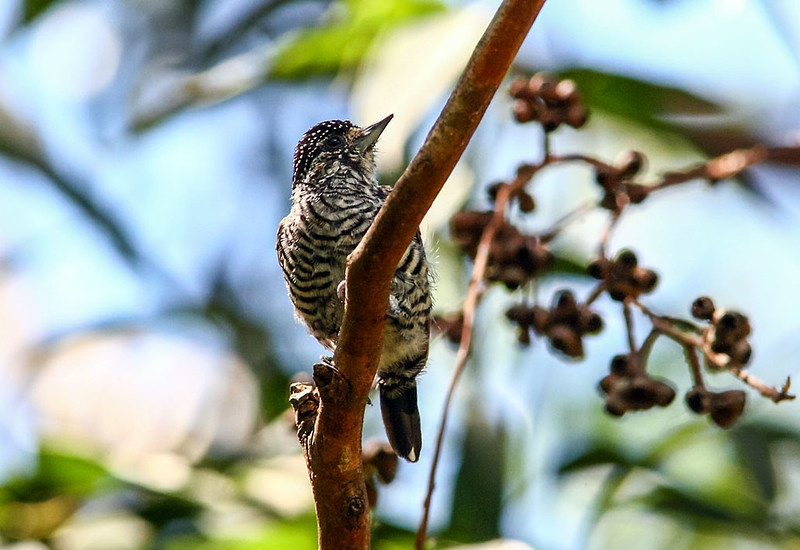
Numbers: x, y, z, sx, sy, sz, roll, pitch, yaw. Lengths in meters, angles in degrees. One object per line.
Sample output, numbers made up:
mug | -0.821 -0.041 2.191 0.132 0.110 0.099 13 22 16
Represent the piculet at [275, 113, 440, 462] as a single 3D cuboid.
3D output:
piculet | -0.174 0.056 5.734 0.924 1.071 1.729 -4 101 -6
